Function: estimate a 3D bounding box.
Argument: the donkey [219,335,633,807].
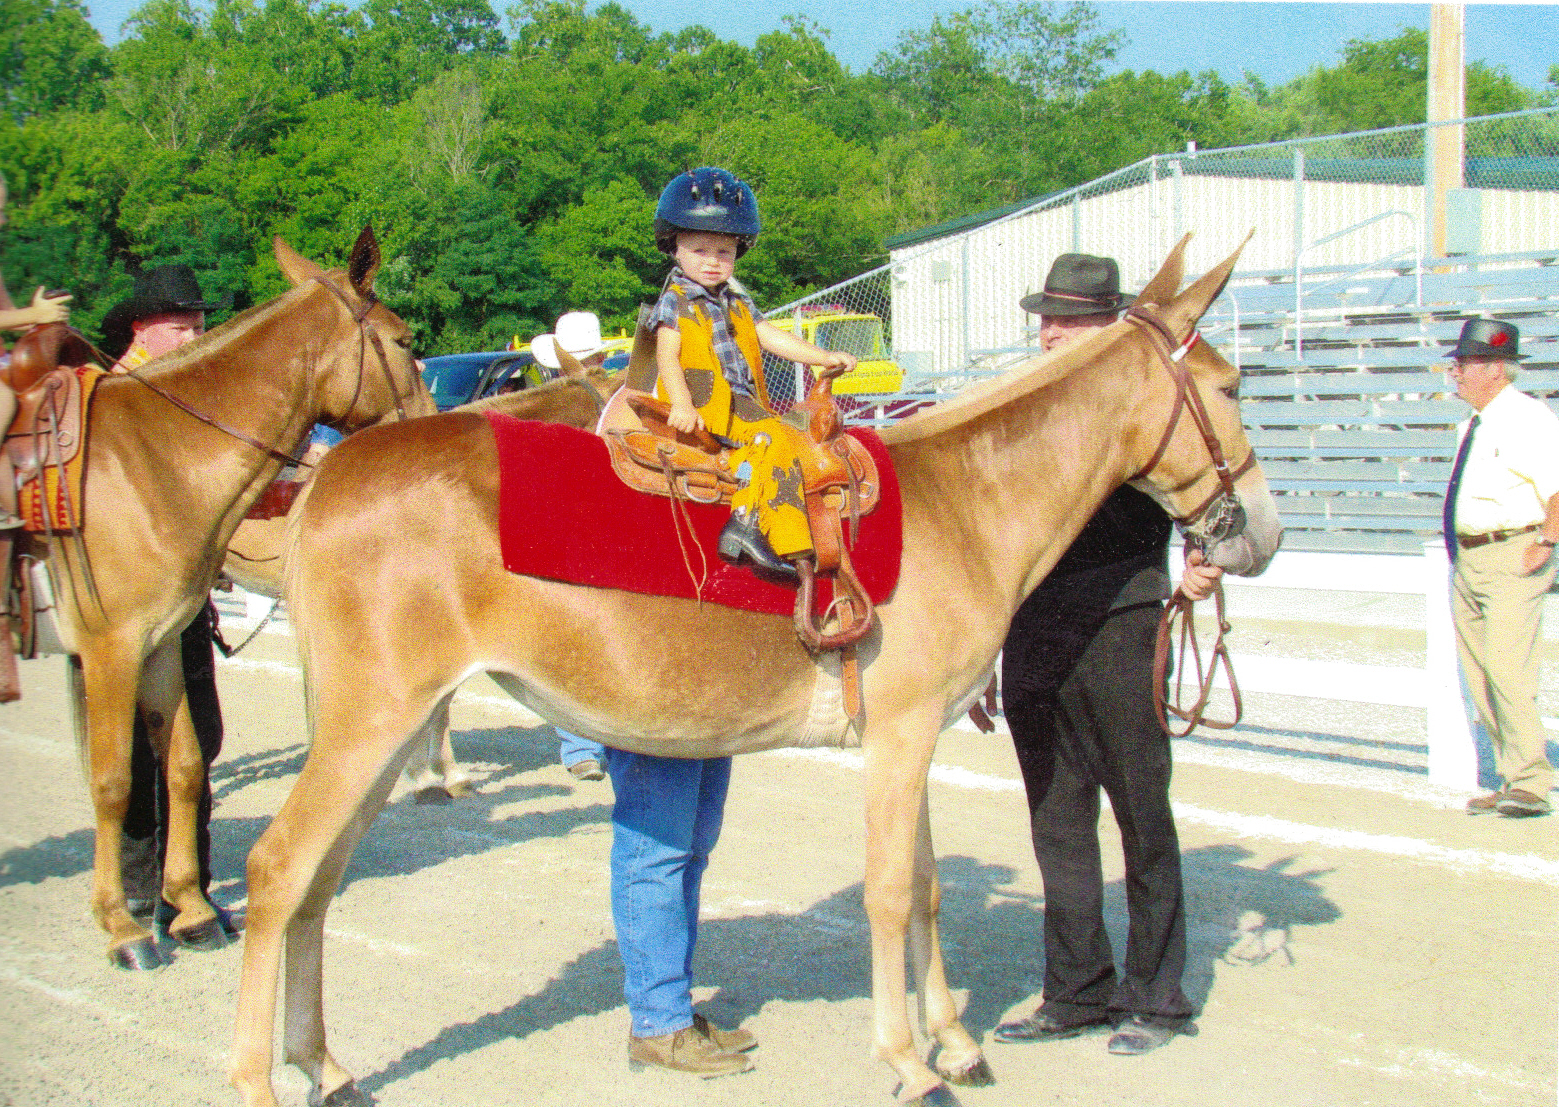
[{"bbox_3d":[-1.890,0.259,9.529,3.296,2.857,1.215,-2,8,-3],"label":"donkey"}]

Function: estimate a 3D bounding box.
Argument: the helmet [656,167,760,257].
[{"bbox_3d":[-0.332,-1.529,7.150,0.341,0.337,0.429,2,12,-10],"label":"helmet"}]
